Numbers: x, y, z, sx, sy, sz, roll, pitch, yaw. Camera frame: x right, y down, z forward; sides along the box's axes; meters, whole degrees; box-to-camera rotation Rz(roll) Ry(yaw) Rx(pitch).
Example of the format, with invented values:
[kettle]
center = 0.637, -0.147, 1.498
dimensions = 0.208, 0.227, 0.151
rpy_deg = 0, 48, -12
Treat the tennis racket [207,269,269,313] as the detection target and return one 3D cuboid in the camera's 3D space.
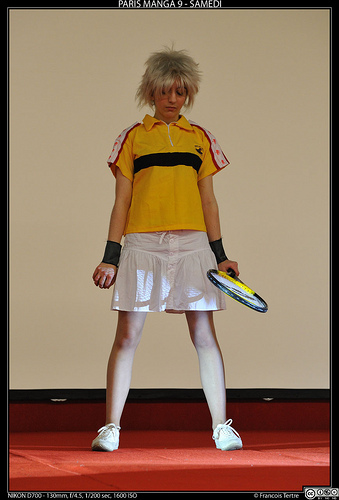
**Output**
[tennis racket]
center = 0.288, 0.186, 2.341
dimensions = 0.208, 0.514, 0.056
rpy_deg = 19, -84, -12
